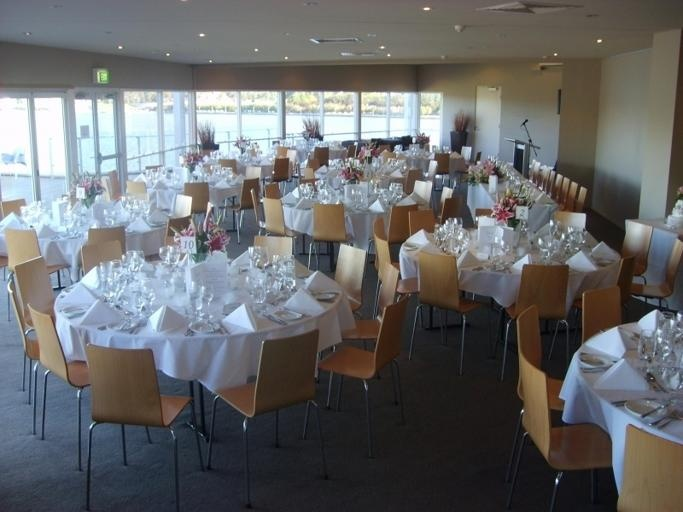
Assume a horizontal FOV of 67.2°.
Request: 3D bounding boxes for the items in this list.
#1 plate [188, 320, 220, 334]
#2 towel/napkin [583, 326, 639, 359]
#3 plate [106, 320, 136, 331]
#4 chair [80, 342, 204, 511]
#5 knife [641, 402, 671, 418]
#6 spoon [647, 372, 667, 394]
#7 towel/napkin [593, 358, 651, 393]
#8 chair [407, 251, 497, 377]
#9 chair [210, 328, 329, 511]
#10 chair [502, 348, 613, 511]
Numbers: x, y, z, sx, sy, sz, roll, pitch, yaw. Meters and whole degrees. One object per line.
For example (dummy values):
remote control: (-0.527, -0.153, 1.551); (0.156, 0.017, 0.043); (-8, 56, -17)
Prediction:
plate: (-1.005, 0.525, 3.788); (0.124, 0.030, 0.117); (0, 23, -21)
towel/napkin: (1.955, 0.585, 3.646); (0.205, 0.102, 0.286); (11, 22, 41)
plate: (-1.620, 0.518, 3.833); (0.237, 0.041, 0.149); (2, 11, 21)
chair: (-1.454, 1.265, 3.749); (0.649, 1.425, 0.822); (4, 20, 5)
knife: (1.795, 0.882, 2.930); (0.236, 0.028, 0.059); (-7, 12, -24)
spoon: (1.936, 0.781, 3.186); (0.042, 0.065, 0.151); (-17, 18, -4)
towel/napkin: (1.716, 0.742, 3.173); (0.214, 0.115, 0.193); (-1, 3, 4)
chair: (1.183, 0.639, 5.549); (0.641, 1.371, 0.713); (11, 30, 30)
chair: (-0.544, 1.238, 3.835); (0.769, 1.364, 0.733); (-8, 20, -37)
chair: (1.507, 1.257, 3.580); (0.604, 1.226, 0.647); (-8, 16, -2)
